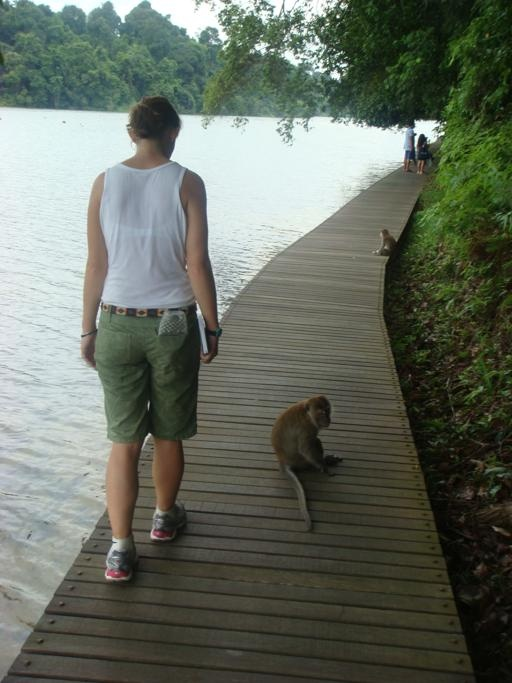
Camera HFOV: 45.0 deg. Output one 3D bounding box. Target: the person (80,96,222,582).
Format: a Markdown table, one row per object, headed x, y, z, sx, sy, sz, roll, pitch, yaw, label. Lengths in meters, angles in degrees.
| x | y | z | sx | sy | sz | roll | pitch | yaw | label |
| --- | --- | --- | --- | --- | --- | --- | --- | --- | --- |
| -0.421 | -0.036 | 2.476 | 0.670 | 1.605 | 0.876 | 0 | 4 | -8 | person |

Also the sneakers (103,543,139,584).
| x | y | z | sx | sy | sz | roll | pitch | yaw | label |
| --- | --- | --- | --- | --- | --- | --- | --- | --- | --- |
| -0.542 | 0.890 | 2.485 | 0.088 | 0.086 | 0.204 | 3 | 9 | -5 | sneakers |

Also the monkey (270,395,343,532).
| x | y | z | sx | sy | sz | roll | pitch | yaw | label |
| --- | --- | --- | --- | --- | --- | --- | --- | --- | --- |
| 0.299 | 0.559 | 3.245 | 0.408 | 0.547 | 0.742 | -1 | 24 | -2 | monkey |

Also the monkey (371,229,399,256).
| x | y | z | sx | sy | sz | roll | pitch | yaw | label |
| --- | --- | --- | --- | --- | --- | --- | --- | --- | --- |
| 1.960 | -1.474 | 9.434 | 0.331 | 0.357 | 0.558 | 4 | 24 | 9 | monkey |

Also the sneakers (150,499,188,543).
| x | y | z | sx | sy | sz | roll | pitch | yaw | label |
| --- | --- | --- | --- | --- | --- | --- | --- | --- | --- |
| -0.388 | 0.809 | 2.797 | 0.090 | 0.097 | 0.225 | 1 | 10 | 10 | sneakers |
